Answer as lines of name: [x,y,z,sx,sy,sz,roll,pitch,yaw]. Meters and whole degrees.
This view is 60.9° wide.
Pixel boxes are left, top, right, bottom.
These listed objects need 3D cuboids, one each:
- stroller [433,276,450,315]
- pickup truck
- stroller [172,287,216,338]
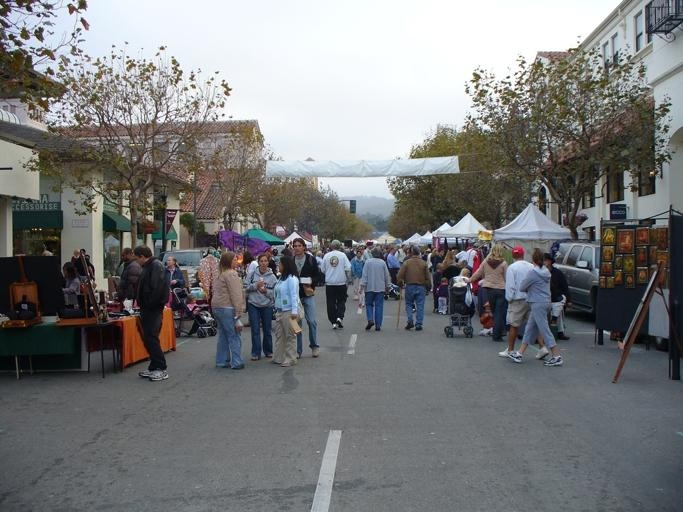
stroller: [3.601,1.367,20.403,0.461,1.391,0.440,0,25,9]
pickup truck: [7.300,0.635,17.837,1.588,2.068,4.318,0,-1,2]
stroller: [-4.044,1.499,15.639,1.488,1.207,0.506,0,0,33]
